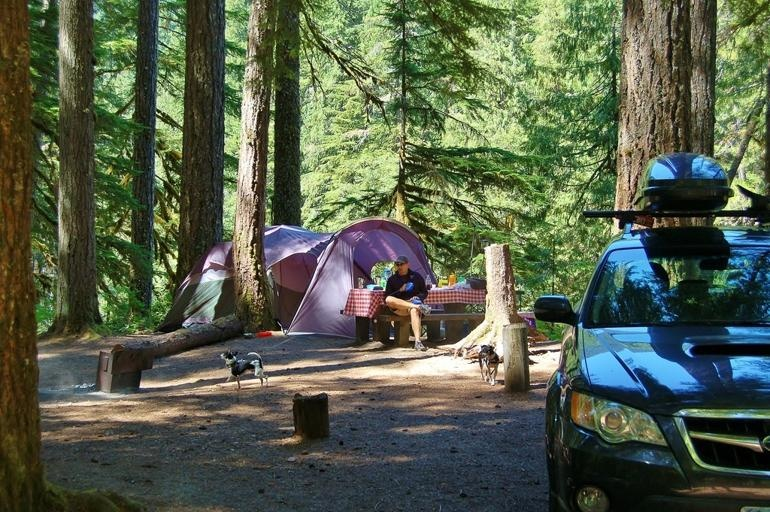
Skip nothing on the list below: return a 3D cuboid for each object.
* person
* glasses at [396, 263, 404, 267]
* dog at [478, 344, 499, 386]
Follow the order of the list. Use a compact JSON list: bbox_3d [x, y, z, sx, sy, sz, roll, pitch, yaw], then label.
[{"bbox_3d":[0.488,0.880,17.821,0.852,1.784,1.073,-2,0,0],"label":"person"},{"bbox_3d":[0.388,0.175,18.023,0.101,0.055,0.099,-3,-14,16],"label":"glasses"},{"bbox_3d":[1.703,1.702,14.694,0.321,0.630,0.386,-2,0,20],"label":"dog"}]
